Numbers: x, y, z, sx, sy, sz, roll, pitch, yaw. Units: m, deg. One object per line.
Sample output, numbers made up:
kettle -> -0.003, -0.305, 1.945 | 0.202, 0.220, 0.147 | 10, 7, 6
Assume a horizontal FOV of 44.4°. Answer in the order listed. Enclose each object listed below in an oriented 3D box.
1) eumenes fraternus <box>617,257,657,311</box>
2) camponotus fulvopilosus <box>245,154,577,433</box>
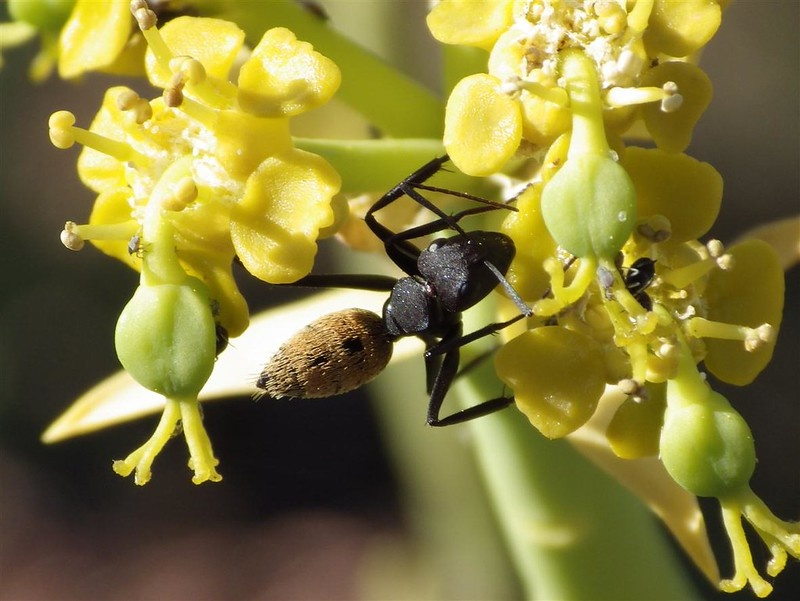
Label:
eumenes fraternus -> 0.167, -0.013, 0.685 | 0.030, 0.014, 0.038 | 33, 38, -28
camponotus fulvopilosus -> 0.010, 0.013, 0.806 | 0.269, 0.096, 0.179 | -29, 64, 12
